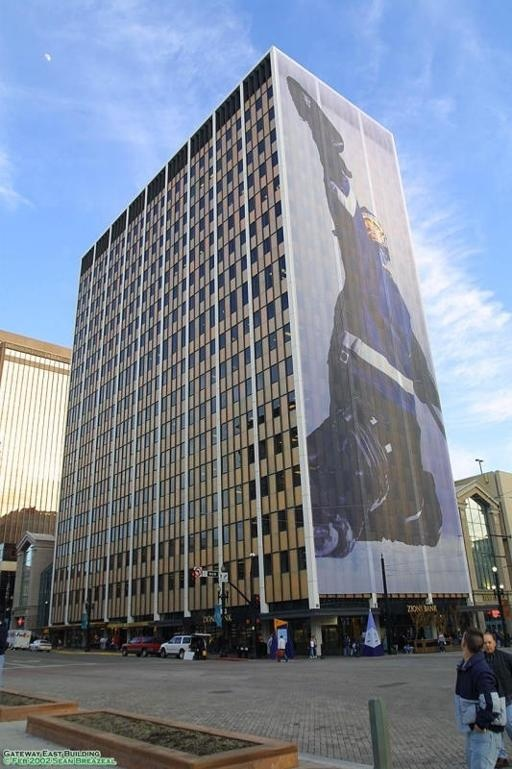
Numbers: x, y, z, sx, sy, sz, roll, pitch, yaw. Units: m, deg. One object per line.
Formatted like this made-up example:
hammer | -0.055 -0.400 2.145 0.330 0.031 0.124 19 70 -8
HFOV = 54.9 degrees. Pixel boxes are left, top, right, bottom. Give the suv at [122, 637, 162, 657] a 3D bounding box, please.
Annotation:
suv | -11.041 25.221 47.381 5.460 1.508 1.268 -24 -26 39

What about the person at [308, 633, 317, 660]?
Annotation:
person | 4.420 20.326 38.139 0.547 1.238 2.730 -7 -20 5

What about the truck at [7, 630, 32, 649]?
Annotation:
truck | -32.579 34.893 67.444 2.350 2.295 5.328 6 -23 -30

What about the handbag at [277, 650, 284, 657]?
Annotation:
handbag | 1.784 18.907 34.761 0.374 0.434 0.787 -18 -22 31
